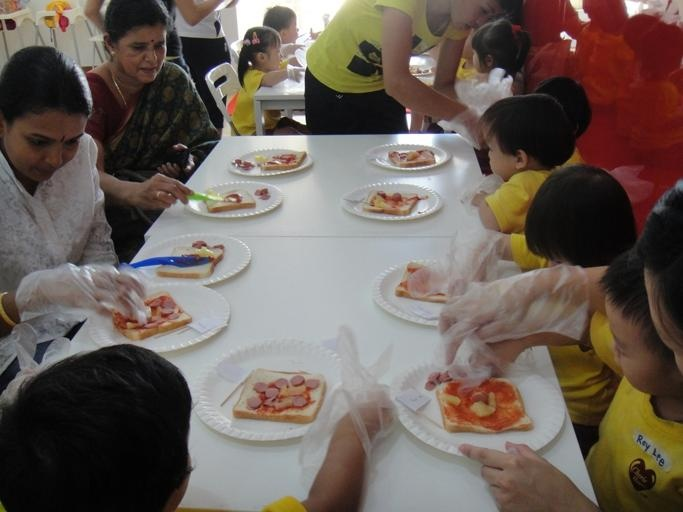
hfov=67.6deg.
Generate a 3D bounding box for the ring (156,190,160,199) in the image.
[{"bbox_3d":[-0.695,-0.235,1.939,0.019,0.008,0.028,-4,60,-1],"label":"ring"}]

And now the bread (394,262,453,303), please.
[{"bbox_3d":[0.231,0.078,1.473,0.109,0.036,0.119,10,55,2],"label":"bread"}]

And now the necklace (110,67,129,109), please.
[{"bbox_3d":[-1.040,-0.778,2.395,0.005,0.135,0.039,5,30,37],"label":"necklace"}]
